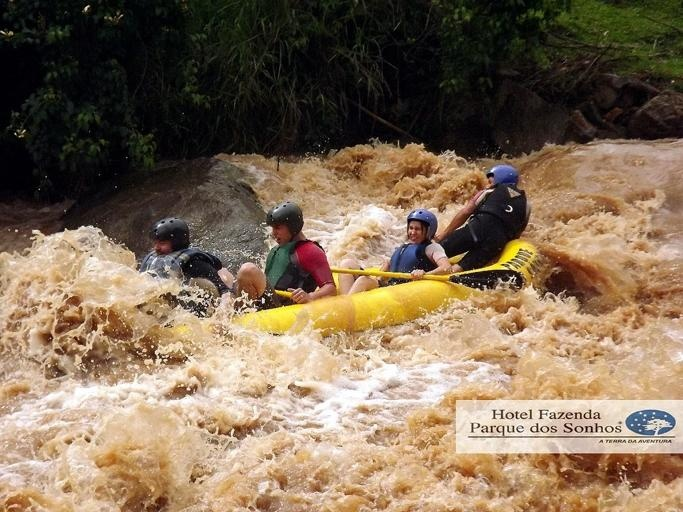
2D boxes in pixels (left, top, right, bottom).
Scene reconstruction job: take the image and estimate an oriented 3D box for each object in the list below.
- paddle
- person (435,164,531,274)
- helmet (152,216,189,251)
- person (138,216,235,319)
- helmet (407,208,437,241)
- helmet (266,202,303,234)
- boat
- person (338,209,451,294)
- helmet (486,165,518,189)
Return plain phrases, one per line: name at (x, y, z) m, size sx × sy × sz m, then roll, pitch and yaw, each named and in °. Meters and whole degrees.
paddle at (1.087, 0.237, 8.727) m, size 1.248 × 0.209 × 0.666 m, roll -4°, pitch 3°, yaw -2°
person at (1.645, -0.385, 9.767) m, size 0.566 × 0.460 × 1.448 m, roll -2°, pitch 22°, yaw 47°
helmet at (-1.667, -0.230, 8.223) m, size 0.276 × 0.358 × 0.319 m, roll 8°, pitch 2°, yaw 25°
person at (-1.530, 0.038, 8.097) m, size 0.791 × 0.441 × 1.047 m, roll 18°, pitch -15°, yaw 37°
helmet at (0.873, -0.318, 9.039) m, size 0.316 × 0.413 × 0.225 m, roll -7°, pitch 34°, yaw -2°
helmet at (-0.549, -0.390, 8.444) m, size 0.368 × 0.297 × 0.269 m, roll -21°, pitch 22°, yaw -11°
boat at (0.560, 0.415, 8.343) m, size 2.941 × 0.413 × 1.299 m, roll -12°, pitch 4°, yaw -22°
person at (0.709, -0.055, 8.920) m, size 1.270 × 0.699 × 0.739 m, roll -4°, pitch 12°, yaw -31°
helmet at (1.904, -0.937, 9.921) m, size 0.339 × 0.249 × 0.239 m, roll 2°, pitch -1°, yaw 13°
